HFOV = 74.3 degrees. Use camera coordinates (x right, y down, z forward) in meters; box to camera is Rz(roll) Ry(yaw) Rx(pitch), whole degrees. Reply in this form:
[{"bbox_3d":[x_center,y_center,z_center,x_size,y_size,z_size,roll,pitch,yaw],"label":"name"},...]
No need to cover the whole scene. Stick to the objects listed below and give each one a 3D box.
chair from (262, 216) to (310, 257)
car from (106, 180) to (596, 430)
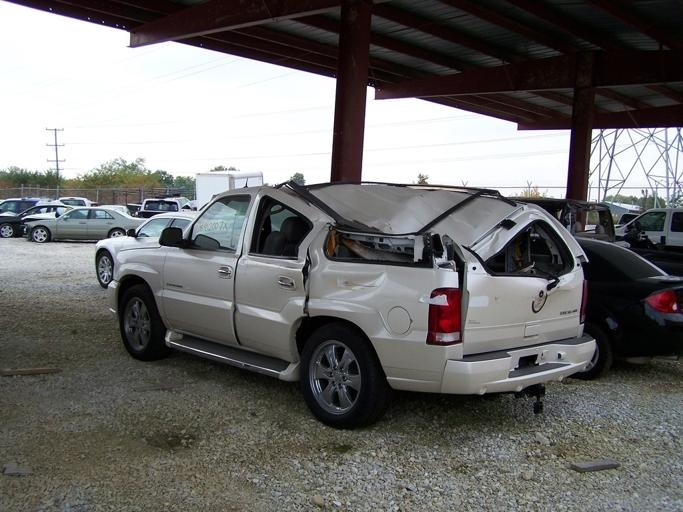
[{"bbox_3d":[-0.566,-0.184,4.702,0.374,0.469,0.531,6,-2,-12],"label":"chair"},{"bbox_3d":[0.032,0.339,4.824,4.605,2.275,1.594,5,6,31],"label":"car"}]
